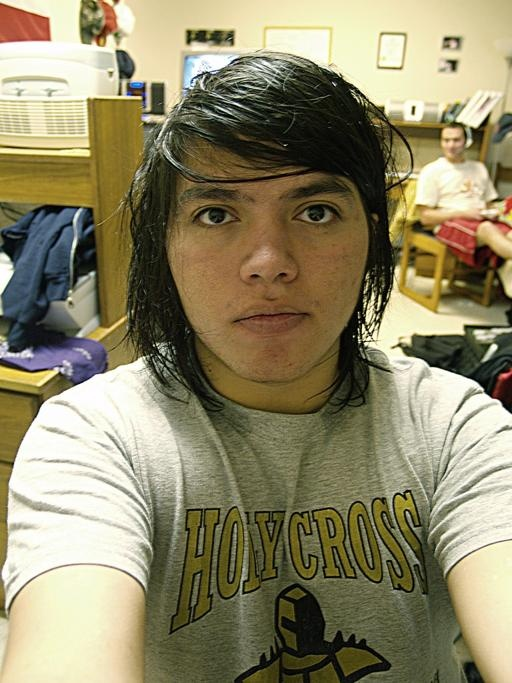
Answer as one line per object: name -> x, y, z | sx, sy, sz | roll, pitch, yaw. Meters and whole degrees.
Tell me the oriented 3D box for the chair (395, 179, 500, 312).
chair -> 1.462, -0.729, 4.341 | 0.800, 0.885, 0.858 | 19, 25, 33
